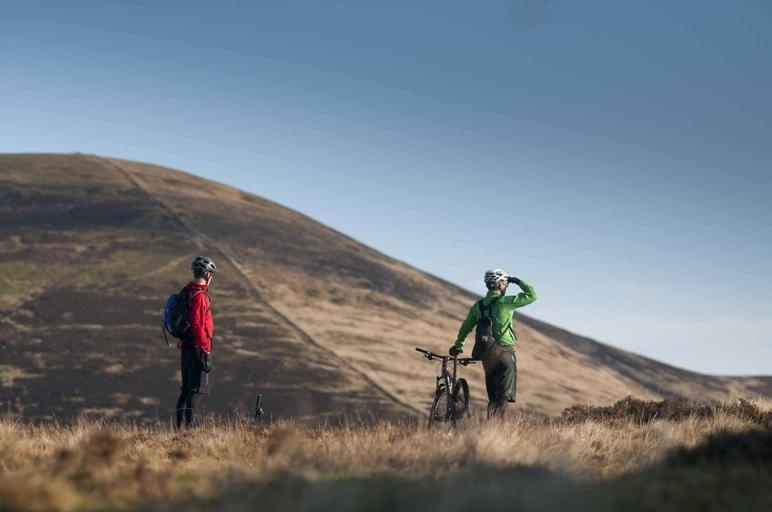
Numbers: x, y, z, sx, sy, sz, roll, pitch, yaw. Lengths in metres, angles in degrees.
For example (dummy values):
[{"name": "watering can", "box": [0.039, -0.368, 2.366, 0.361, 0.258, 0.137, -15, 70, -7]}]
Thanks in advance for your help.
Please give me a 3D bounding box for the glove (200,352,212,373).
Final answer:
[{"name": "glove", "box": [-6.097, 3.610, 36.375, 0.205, 0.653, 0.440, -2, 3, -27]}]
